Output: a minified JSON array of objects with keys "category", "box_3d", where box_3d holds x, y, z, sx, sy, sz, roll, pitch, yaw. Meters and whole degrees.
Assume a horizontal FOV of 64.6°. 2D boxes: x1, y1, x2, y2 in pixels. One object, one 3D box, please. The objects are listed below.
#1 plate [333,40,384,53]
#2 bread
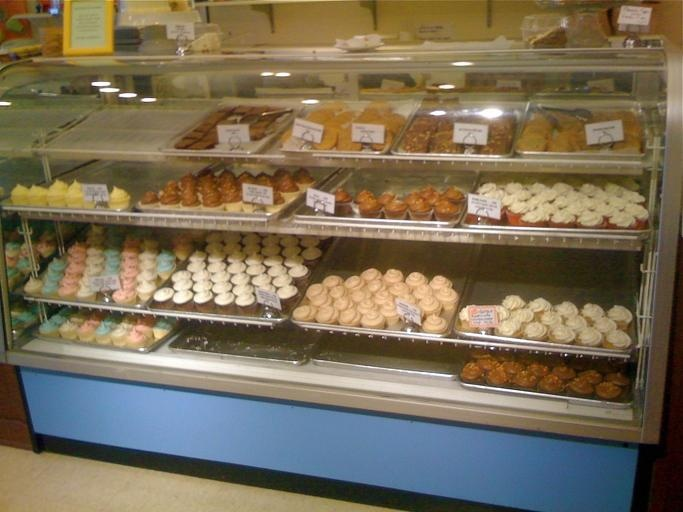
[{"category":"plate","box_3d":[0.100,-0.999,2.555,0.192,0.049,0.080,1,-19,-1]},{"category":"bread","box_3d":[0.575,-0.599,2.488,1.482,0.241,0.250,2,23,15]}]
